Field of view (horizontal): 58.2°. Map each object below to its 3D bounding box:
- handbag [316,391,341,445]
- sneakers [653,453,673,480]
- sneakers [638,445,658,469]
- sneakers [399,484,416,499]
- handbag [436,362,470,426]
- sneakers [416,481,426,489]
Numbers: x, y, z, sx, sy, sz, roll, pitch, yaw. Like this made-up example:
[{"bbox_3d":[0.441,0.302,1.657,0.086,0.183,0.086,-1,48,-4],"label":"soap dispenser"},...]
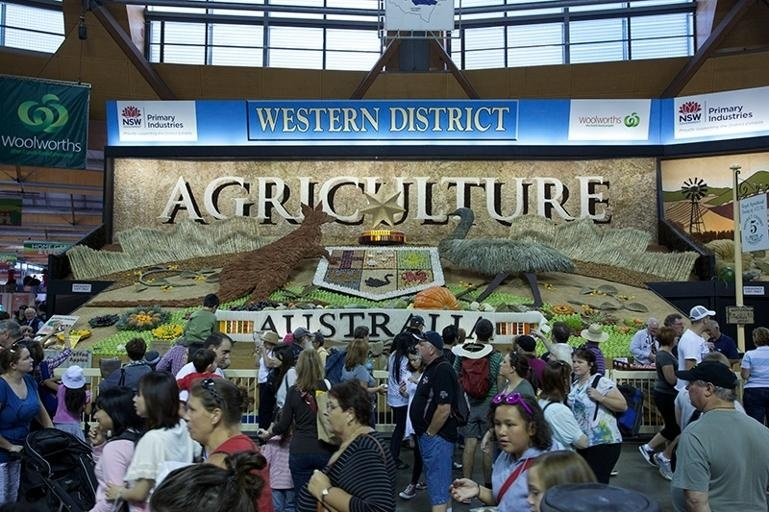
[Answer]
[{"bbox_3d":[-0.770,2.277,9.620,0.369,0.902,0.741,-2,-17,-4],"label":"handbag"},{"bbox_3d":[5.136,3.842,12.674,0.239,0.526,0.183,-35,-15,19],"label":"sneakers"},{"bbox_3d":[5.112,3.851,13.269,0.218,0.515,0.189,-35,5,15],"label":"sneakers"},{"bbox_3d":[0.406,4.074,12.096,0.279,0.261,0.342,1,-2,1],"label":"sneakers"},{"bbox_3d":[1.182,2.198,10.862,0.218,0.986,0.502,0,-2,22],"label":"handbag"},{"bbox_3d":[0.673,4.113,12.411,0.129,0.094,0.153,1,-2,14],"label":"sneakers"}]
